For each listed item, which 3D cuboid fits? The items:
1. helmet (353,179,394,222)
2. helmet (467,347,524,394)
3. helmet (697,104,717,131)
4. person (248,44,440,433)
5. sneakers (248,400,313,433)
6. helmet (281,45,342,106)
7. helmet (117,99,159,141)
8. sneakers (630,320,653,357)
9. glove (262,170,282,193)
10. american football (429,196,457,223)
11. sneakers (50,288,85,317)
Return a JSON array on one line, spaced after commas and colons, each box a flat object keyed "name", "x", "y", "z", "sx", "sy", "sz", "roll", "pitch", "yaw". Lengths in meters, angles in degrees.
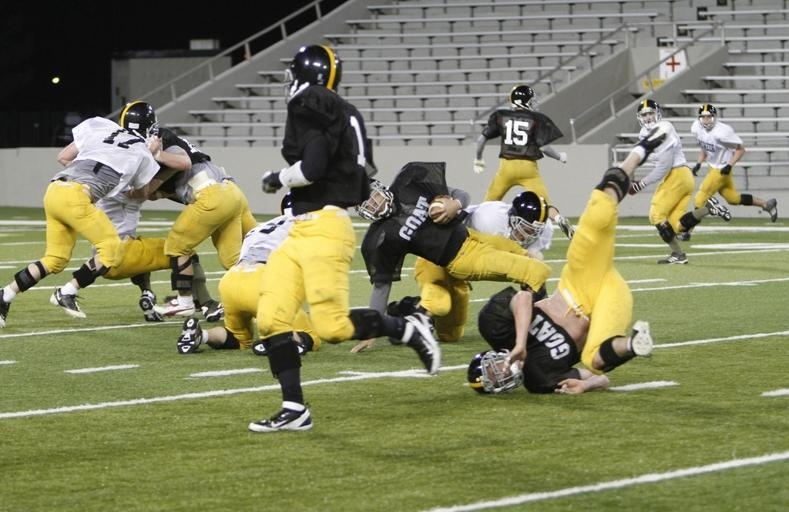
[{"name": "helmet", "x": -0.139, "y": -0.386, "z": 6.415, "sx": 0.240, "sy": 0.248, "sz": 0.319, "roll": -4, "pitch": -8, "yaw": 39}, {"name": "helmet", "x": 0.652, "y": 0.764, "z": 5.894, "sx": 0.329, "sy": 0.233, "sz": 0.268, "roll": 3, "pitch": 24, "yaw": 42}, {"name": "helmet", "x": 4.835, "y": -2.169, "z": 14.296, "sx": 0.341, "sy": 0.364, "sz": 0.446, "roll": -6, "pitch": 9, "yaw": 27}, {"name": "person", "x": -0.361, "y": 0.009, "z": 5.412, "sx": 1.002, "sy": 2.015, "sz": 0.443, "roll": 0, "pitch": 2, "yaw": -14}, {"name": "sneakers", "x": -0.632, "y": 0.950, "z": 5.351, "sx": 0.452, "sy": 0.174, "sz": 0.140, "roll": 1, "pitch": 0, "yaw": -10}, {"name": "helmet", "x": -0.433, "y": -1.104, "z": 5.549, "sx": 0.426, "sy": 0.370, "sz": 0.314, "roll": 5, "pitch": 5, "yaw": 18}, {"name": "helmet", "x": -2.251, "y": -1.190, "z": 8.011, "sx": 0.399, "sy": 0.341, "sz": 0.297, "roll": -7, "pitch": 14, "yaw": -22}, {"name": "sneakers", "x": 1.517, "y": 0.505, "z": 5.624, "sx": 0.149, "sy": 0.210, "sz": 0.094, "roll": -8, "pitch": -1, "yaw": -8}, {"name": "glove", "x": -0.700, "y": -0.423, "z": 5.271, "sx": 0.094, "sy": 0.049, "sz": 0.145, "roll": -19, "pitch": 22, "yaw": -28}, {"name": "american football", "x": 0.365, "y": -0.346, "z": 6.699, "sx": 0.174, "sy": 0.100, "sz": 0.201, "roll": -2, "pitch": -4, "yaw": -13}, {"name": "sneakers", "x": -2.961, "y": 0.432, "z": 8.290, "sx": 0.340, "sy": 0.154, "sz": 0.113, "roll": 33, "pitch": 11, "yaw": -3}]
